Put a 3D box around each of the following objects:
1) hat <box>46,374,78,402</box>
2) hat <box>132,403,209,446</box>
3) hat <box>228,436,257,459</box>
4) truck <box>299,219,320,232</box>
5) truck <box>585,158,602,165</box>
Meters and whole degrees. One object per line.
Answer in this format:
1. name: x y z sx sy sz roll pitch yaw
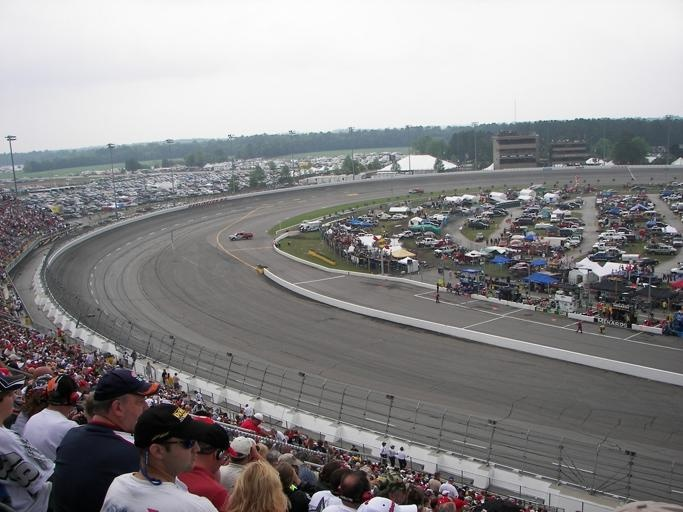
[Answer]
1. hat: -5.069 2.435 13.984 0.575 0.394 0.504 -2 2 -7
2. hat: -2.728 2.680 12.122 1.054 0.639 0.344 -2 15 -9
3. hat: -1.799 3.449 13.758 0.317 0.161 0.431 7 15 14
4. truck: -3.338 -3.080 79.850 1.840 0.883 2.666 8 15 33
5. truck: 44.931 -16.860 137.585 2.398 0.525 19.802 4 12 18
